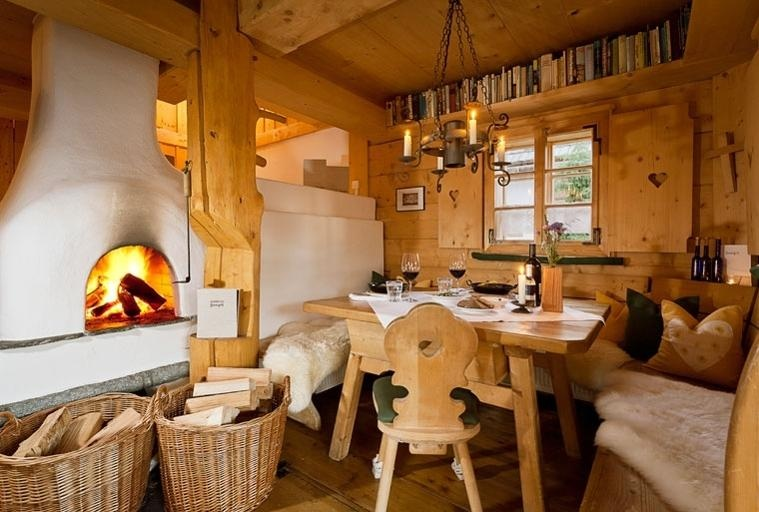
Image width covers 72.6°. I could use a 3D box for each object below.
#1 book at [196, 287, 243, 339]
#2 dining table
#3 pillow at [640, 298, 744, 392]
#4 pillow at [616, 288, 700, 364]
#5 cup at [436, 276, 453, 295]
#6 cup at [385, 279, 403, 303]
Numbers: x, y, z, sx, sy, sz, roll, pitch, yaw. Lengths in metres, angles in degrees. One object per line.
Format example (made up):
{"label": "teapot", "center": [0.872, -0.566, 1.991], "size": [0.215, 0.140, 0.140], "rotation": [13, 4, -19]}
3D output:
{"label": "book", "center": [-1.202, 0.425, 3.852], "size": [0.408, 0.441, 0.062], "rotation": [0, -3, -3]}
{"label": "dining table", "center": [0.568, 0.880, 3.728], "size": [1.684, 1.017, 1.504], "rotation": [-3, -7, 25]}
{"label": "pillow", "center": [2.218, 0.529, 3.942], "size": [0.933, 0.843, 0.513], "rotation": [0, -1, 38]}
{"label": "pillow", "center": [2.128, 0.549, 3.933], "size": [0.514, 0.489, 0.273], "rotation": [-1, -31, 47]}
{"label": "cup", "center": [0.502, 0.227, 3.963], "size": [0.146, 0.144, 0.135], "rotation": [0, 4, 0]}
{"label": "cup", "center": [0.127, 0.264, 3.832], "size": [0.140, 0.151, 0.144], "rotation": [0, 6, 0]}
